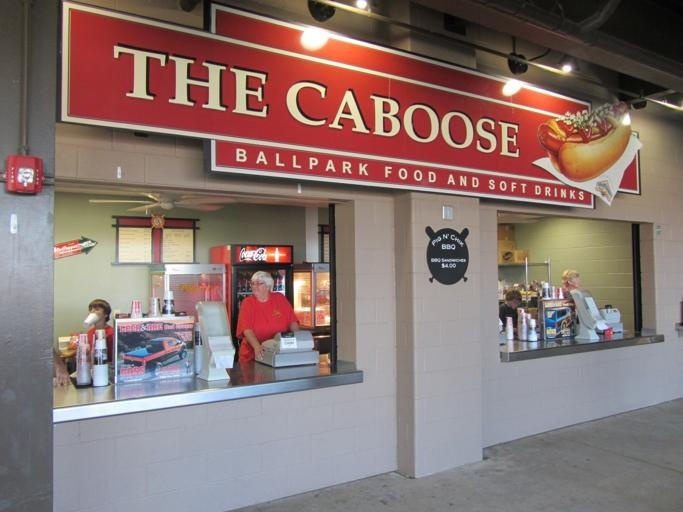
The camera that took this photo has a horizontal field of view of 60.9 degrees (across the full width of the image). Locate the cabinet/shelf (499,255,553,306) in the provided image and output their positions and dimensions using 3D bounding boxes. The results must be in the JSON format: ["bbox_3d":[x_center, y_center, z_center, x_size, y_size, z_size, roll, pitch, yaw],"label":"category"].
[{"bbox_3d":[2.730,0.366,8.686,0.700,0.701,0.415,3,-4,-45],"label":"cabinet/shelf"}]

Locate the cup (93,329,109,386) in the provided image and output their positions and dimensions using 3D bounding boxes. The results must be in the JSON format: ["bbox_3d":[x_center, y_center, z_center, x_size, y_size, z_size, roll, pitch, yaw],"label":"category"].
[{"bbox_3d":[-1.901,0.796,4.584,0.133,0.457,0.180,-3,6,-36],"label":"cup"}]

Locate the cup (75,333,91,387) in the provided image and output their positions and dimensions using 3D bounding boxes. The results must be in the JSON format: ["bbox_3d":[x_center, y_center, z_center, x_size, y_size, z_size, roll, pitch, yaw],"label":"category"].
[{"bbox_3d":[-2.069,0.813,4.631,0.117,0.419,0.243,-2,5,-24],"label":"cup"}]

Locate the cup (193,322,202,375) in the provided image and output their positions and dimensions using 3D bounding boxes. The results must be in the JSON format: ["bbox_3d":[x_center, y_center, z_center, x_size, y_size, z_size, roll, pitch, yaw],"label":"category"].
[{"bbox_3d":[-1.227,0.790,4.924,0.066,0.434,0.104,-1,5,-15],"label":"cup"}]

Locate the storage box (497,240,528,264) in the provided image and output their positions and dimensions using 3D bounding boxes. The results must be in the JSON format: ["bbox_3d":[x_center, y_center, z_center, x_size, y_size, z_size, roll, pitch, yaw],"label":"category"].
[{"bbox_3d":[2.662,-0.043,9.115,0.417,0.370,0.496,-1,5,-6],"label":"storage box"}]

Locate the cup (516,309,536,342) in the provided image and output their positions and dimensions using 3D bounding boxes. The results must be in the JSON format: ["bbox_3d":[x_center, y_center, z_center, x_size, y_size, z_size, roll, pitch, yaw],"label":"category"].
[{"bbox_3d":[2.212,0.824,6.903,0.233,0.365,0.272,1,5,17],"label":"cup"}]
